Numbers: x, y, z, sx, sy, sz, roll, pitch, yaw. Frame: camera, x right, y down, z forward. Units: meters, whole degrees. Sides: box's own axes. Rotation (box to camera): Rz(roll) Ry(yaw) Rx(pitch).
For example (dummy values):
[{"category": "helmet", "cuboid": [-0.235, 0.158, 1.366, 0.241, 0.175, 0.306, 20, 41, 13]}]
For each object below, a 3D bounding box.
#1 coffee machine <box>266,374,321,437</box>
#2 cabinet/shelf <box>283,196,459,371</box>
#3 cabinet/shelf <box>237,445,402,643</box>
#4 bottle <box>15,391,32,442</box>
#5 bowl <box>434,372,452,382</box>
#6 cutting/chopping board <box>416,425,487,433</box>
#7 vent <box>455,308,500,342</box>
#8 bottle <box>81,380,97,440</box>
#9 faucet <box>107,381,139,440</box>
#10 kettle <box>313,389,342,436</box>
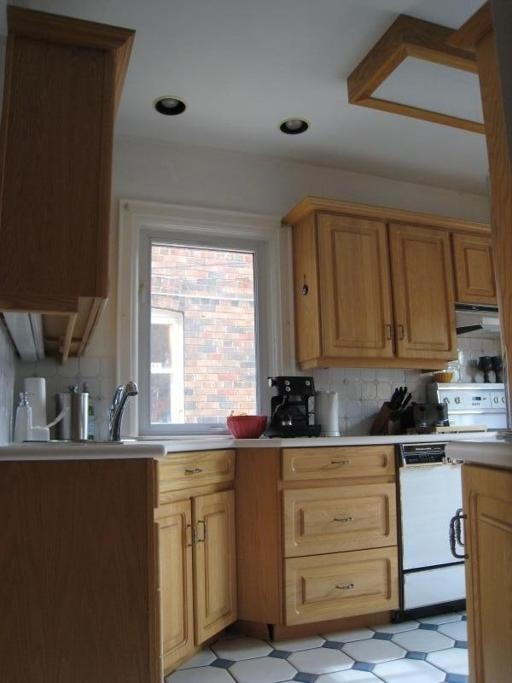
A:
[{"category": "coffee machine", "cuboid": [0.188, 0.317, 2.876, 0.255, 0.302, 0.268, 0, -7, -8]}, {"category": "cabinet/shelf", "cuboid": [0.683, -0.254, 3.310, 0.977, 0.922, 0.359, 3, -9, -23]}, {"category": "cabinet/shelf", "cuboid": [0.278, 0.884, 2.709, 0.619, 0.800, 0.568, 6, -15, -30]}, {"category": "bottle", "cuboid": [-0.885, 0.284, 2.214, 0.062, 0.191, 0.311, 2, -8, -22]}, {"category": "bowl", "cuboid": [1.165, 0.219, 3.570, 0.070, 0.047, 0.070, -2, -5, 0]}, {"category": "cutting/chopping board", "cuboid": [1.042, 0.467, 3.073, 0.393, 0.037, 0.251, 3, -8, -28]}, {"category": "vent", "cuboid": [1.386, -0.109, 3.635, 0.255, 0.137, 0.634, -4, -8, 22]}, {"category": "bottle", "cuboid": [-0.766, 0.315, 2.665, 0.066, 0.270, 0.241, 1, -8, -16]}, {"category": "faucet", "cuboid": [-0.537, 0.279, 2.348, 0.098, 0.240, 0.229, 1, -7, -15]}, {"category": "kettle", "cuboid": [0.390, 0.386, 3.092, 0.147, 0.241, 0.144, -3, -3, -29]}]
